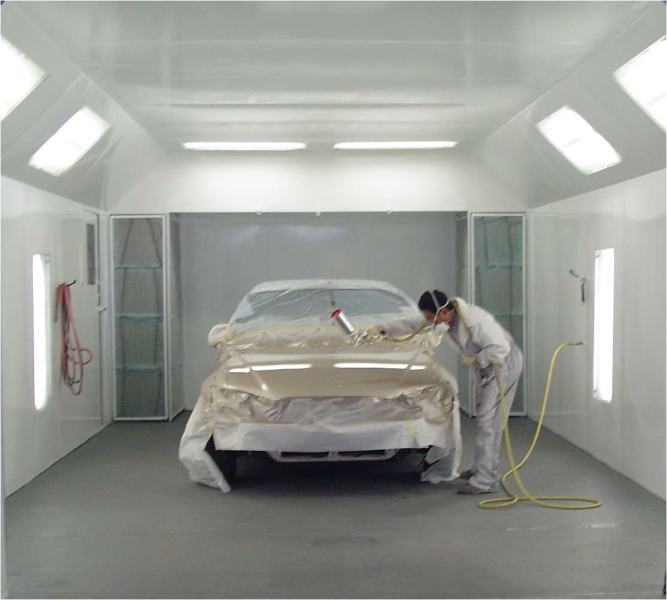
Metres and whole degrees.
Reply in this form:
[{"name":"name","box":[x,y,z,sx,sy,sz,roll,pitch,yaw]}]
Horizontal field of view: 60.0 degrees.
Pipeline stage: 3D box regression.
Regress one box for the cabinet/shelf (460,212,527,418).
[{"name":"cabinet/shelf","box":[0.971,0.124,3.556,0.336,1.216,0.315,-3,-7,-37]}]

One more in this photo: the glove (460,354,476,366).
[{"name":"glove","box":[0.777,0.345,3.339,0.042,0.067,0.017,10,-12,13]}]

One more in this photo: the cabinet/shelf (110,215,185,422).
[{"name":"cabinet/shelf","box":[-1.138,0.105,3.599,0.641,1.297,0.292,-3,-3,43]}]

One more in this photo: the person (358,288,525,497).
[{"name":"person","box":[0.450,0.550,3.902,1.155,1.556,0.714,4,-10,-4]}]
